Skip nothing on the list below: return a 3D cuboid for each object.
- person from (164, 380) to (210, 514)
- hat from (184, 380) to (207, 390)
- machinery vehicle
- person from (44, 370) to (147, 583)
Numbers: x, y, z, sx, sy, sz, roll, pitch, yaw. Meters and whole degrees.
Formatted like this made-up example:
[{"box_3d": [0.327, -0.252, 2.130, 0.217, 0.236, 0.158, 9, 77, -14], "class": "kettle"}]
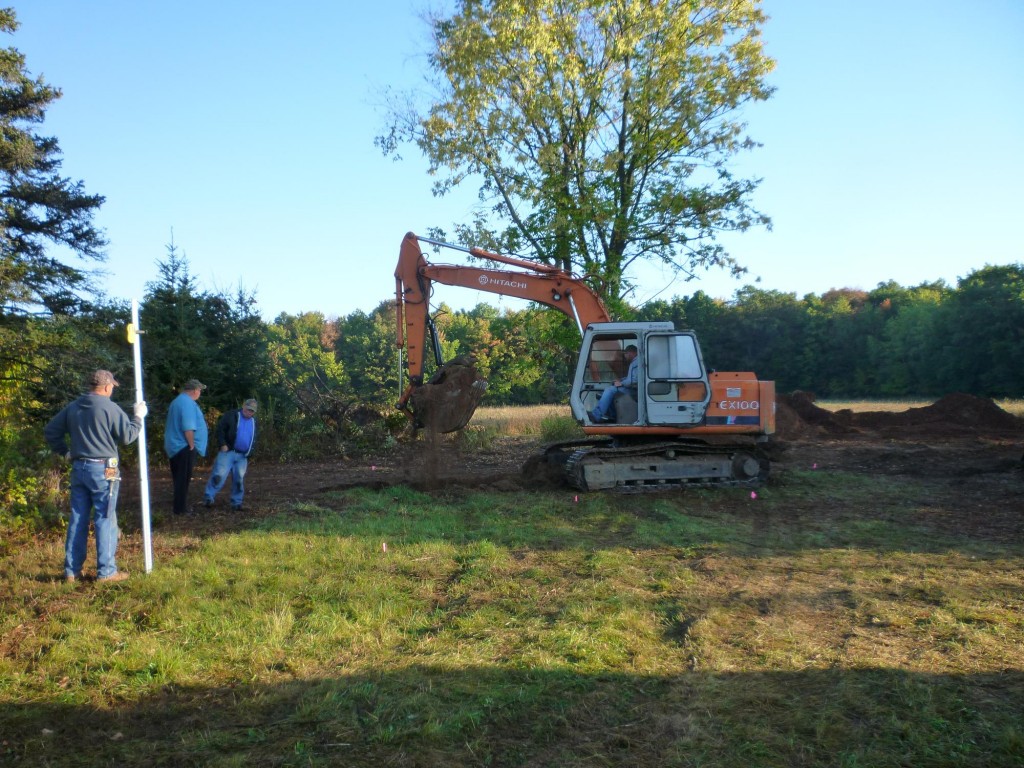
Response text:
[{"box_3d": [-4.946, 0.917, 14.315, 0.573, 1.997, 0.780, -3, 8, -18], "class": "person"}, {"box_3d": [-5.174, 0.009, 15.338, 0.190, 0.228, 0.228, -8, -8, 22], "class": "hat"}, {"box_3d": [1.281, -0.252, 16.880, 6.179, 3.901, 2.436, -1, 2, 0], "class": "machinery vehicle"}, {"box_3d": [-5.060, 1.082, 11.499, 1.246, 2.451, 0.790, 0, 8, 0], "class": "person"}]
